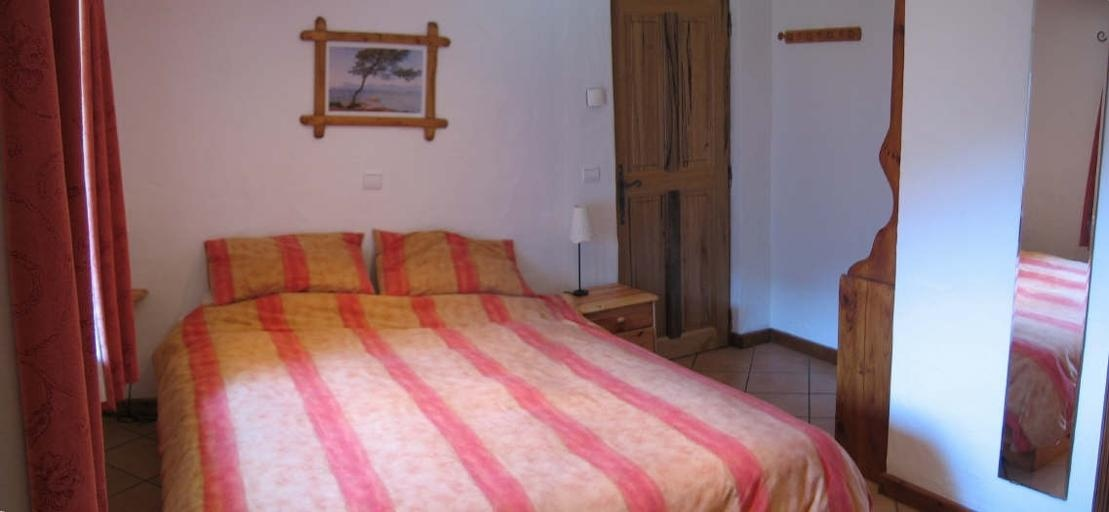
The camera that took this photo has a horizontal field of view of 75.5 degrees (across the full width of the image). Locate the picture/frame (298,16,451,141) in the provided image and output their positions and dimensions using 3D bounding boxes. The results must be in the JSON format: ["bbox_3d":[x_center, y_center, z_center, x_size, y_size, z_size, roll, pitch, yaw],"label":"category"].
[{"bbox_3d":[-1.570,-1.492,6.005,1.378,0.861,0.092,1,12,-11],"label":"picture/frame"}]

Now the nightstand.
[{"bbox_3d":[0.525,0.470,6.400,0.909,0.634,0.576,-13,20,-37],"label":"nightstand"}]
